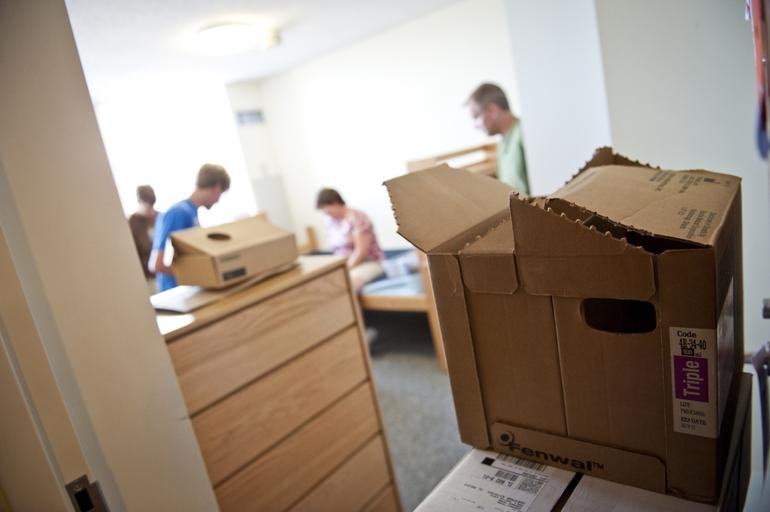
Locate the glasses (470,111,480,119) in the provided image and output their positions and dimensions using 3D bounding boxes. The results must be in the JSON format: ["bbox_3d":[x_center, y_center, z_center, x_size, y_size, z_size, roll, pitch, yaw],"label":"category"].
[{"bbox_3d":[0.622,-0.972,4.061,0.056,0.044,0.081,2,-1,8],"label":"glasses"}]

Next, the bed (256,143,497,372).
[{"bbox_3d":[0.058,-0.030,3.921,1.364,0.896,0.993,-10,8,34],"label":"bed"}]

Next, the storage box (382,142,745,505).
[{"bbox_3d":[0.414,0.103,1.439,0.765,0.595,0.598,0,20,34],"label":"storage box"}]
